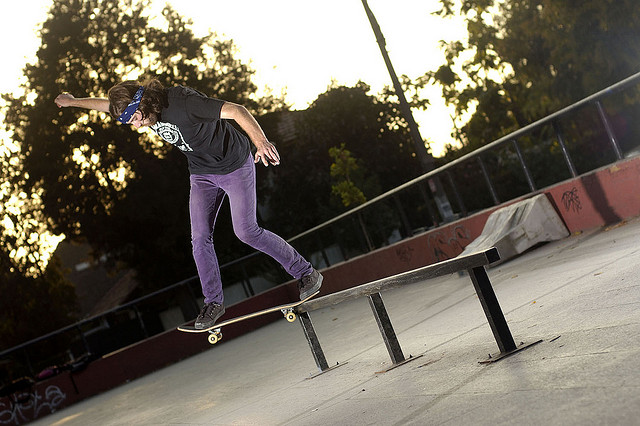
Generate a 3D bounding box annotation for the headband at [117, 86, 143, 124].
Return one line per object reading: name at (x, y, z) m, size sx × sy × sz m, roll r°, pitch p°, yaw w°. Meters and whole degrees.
headband at (-2.503, -1.394, 8.010) m, size 0.453 × 0.108 × 0.336 m, roll -50°, pitch 0°, yaw 27°
